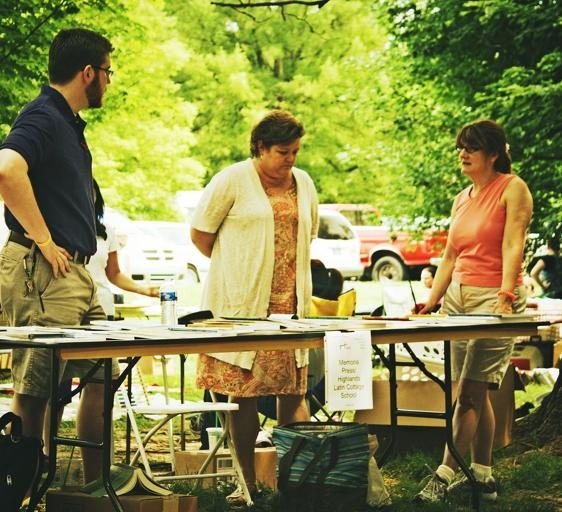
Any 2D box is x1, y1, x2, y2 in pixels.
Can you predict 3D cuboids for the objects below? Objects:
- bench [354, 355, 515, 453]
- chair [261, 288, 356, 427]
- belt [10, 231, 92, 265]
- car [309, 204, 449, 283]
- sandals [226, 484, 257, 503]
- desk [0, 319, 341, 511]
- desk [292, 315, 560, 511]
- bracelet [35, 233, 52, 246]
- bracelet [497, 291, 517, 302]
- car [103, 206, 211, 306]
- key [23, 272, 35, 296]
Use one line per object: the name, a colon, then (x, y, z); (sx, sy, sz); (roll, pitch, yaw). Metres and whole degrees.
bench: (1.164, 1.042, 7.007); (0.734, 0.212, 0.826); (2, 7, 22)
chair: (0.285, 0.707, 7.051); (0.854, 1.169, 0.775); (4, -9, -12)
belt: (-1.158, -0.036, 4.901); (0.227, 0.055, 0.195); (22, -3, -21)
car: (1.768, -0.249, 18.000); (2.158, 0.996, 1.218); (1, -1, -2)
sandals: (-0.244, 1.422, 5.933); (0.148, 0.066, 0.104); (9, -12, -39)
desk: (-0.537, 0.736, 4.657); (1.542, 0.930, 0.932); (2, -4, -9)
desk: (0.827, 0.643, 5.533); (1.022, 0.958, 1.253); (-3, -4, 35)
bracelet: (-1.162, -0.079, 4.810); (0.078, 0.063, 0.053); (3, -4, -15)
bracelet: (1.315, 0.232, 5.692); (0.110, 0.079, 0.082); (2, -4, -3)
car: (-1.636, 0.040, 14.094); (1.179, 1.178, 2.470); (2, -4, -18)
key: (-1.236, 0.135, 4.830); (0.051, 0.110, 0.036); (3, -3, -18)
